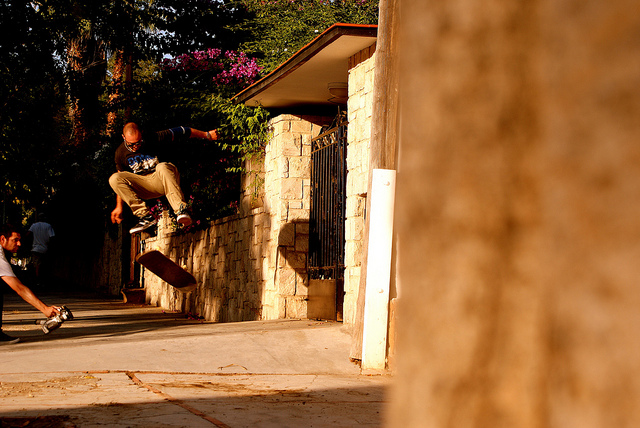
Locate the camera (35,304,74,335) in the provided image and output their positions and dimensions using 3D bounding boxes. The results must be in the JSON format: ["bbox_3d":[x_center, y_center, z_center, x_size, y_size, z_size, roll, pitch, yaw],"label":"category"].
[{"bbox_3d":[-2.906,1.127,8.181,0.375,0.168,0.271,-26,32,11],"label":"camera"}]

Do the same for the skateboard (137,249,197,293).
[{"bbox_3d":[-2.214,0.761,10.504,0.370,0.177,1.215,-24,-33,20],"label":"skateboard"}]
